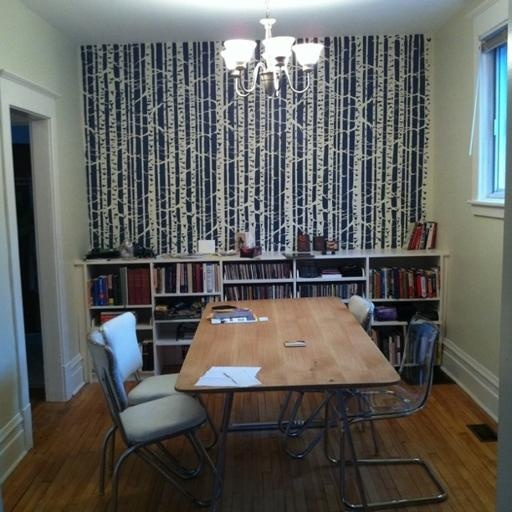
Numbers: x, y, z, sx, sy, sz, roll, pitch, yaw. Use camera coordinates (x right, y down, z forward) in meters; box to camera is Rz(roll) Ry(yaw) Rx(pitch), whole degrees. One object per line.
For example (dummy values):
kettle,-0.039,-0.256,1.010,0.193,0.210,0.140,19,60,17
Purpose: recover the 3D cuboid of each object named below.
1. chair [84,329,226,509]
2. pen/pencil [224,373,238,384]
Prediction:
chair,-0.491,0.720,2.821,0.892,1.274,0.709,-4,10,-16
pen/pencil,-0.115,0.548,2.087,0.022,0.004,0.163,-8,13,-22
